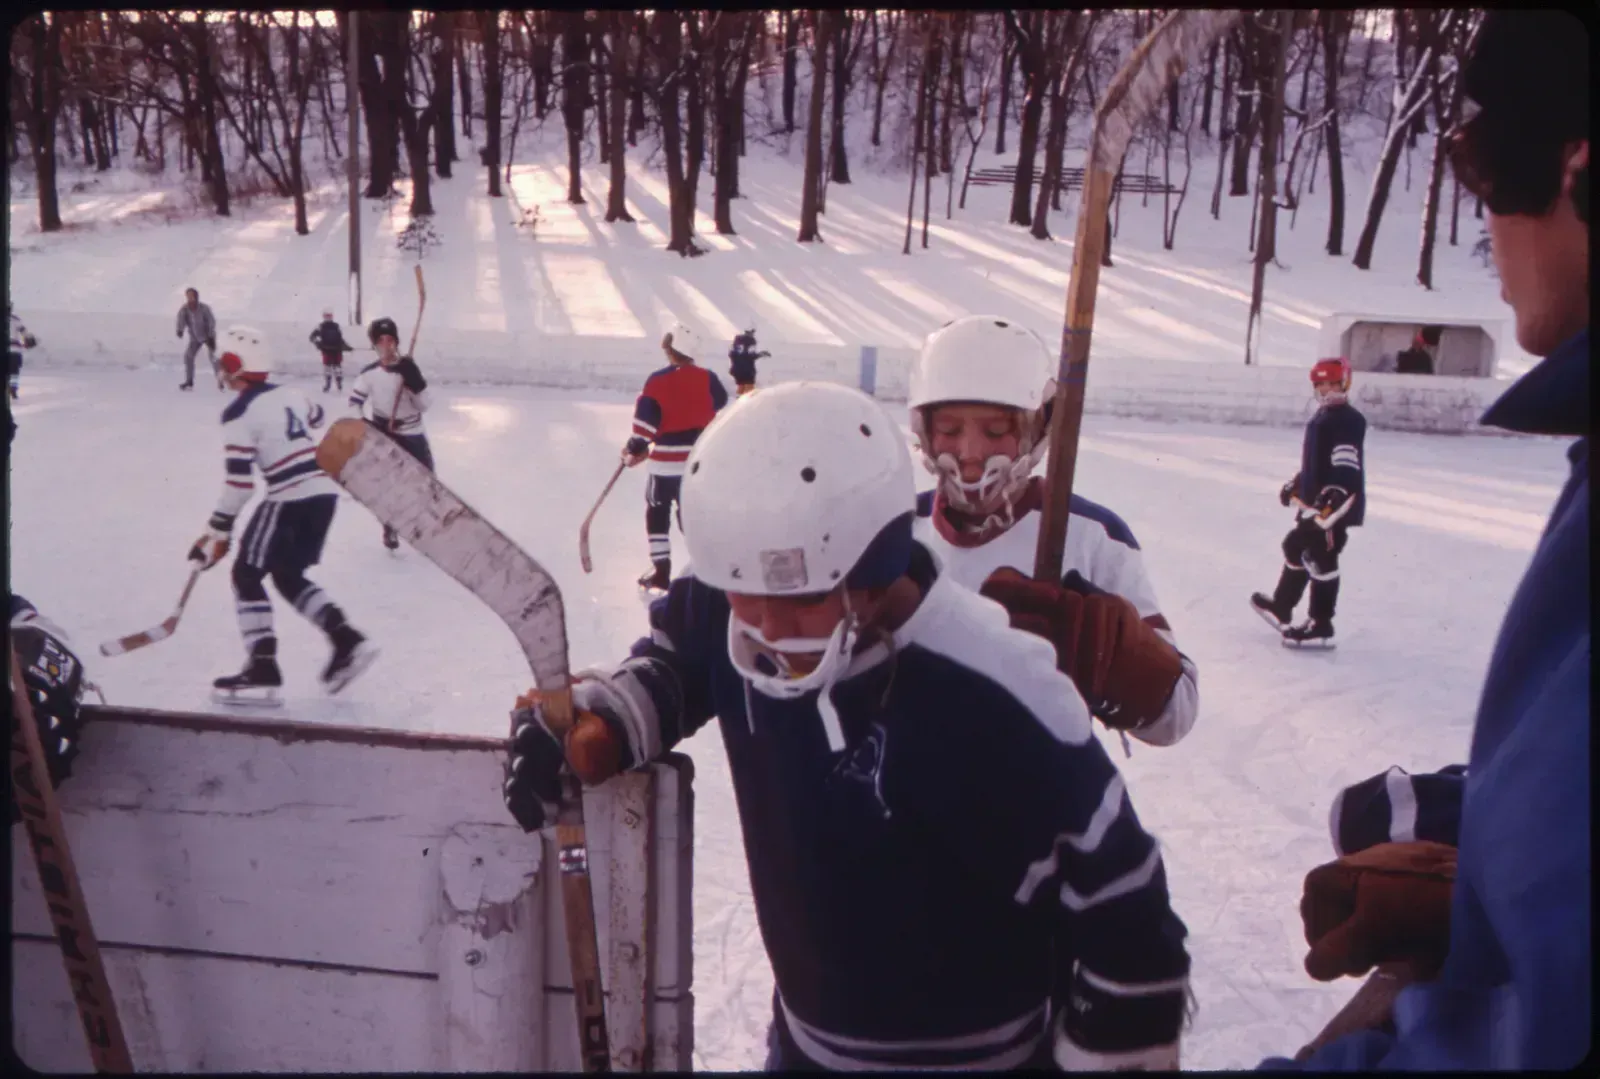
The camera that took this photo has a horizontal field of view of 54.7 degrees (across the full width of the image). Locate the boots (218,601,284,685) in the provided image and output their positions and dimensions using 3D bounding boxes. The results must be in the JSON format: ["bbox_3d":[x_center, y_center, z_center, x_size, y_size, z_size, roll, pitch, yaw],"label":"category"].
[{"bbox_3d":[-3.141,0.614,8.788,0.360,0.507,0.344,-3,14,-18],"label":"boots"}]

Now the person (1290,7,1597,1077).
[{"bbox_3d":[1.704,-0.012,3.848,0.656,2.552,0.920,6,14,19],"label":"person"}]

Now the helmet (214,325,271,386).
[{"bbox_3d":[-3.320,-1.123,9.368,0.290,0.377,0.357,-9,33,-33],"label":"helmet"}]

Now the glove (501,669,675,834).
[{"bbox_3d":[-0.653,0.615,4.668,0.383,0.507,0.201,1,15,-12],"label":"glove"}]

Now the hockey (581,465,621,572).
[{"bbox_3d":[-1.462,-0.029,10.754,0.328,0.119,1.426,9,-28,-5],"label":"hockey"}]

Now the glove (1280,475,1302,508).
[{"bbox_3d":[3.448,-0.364,10.876,0.091,0.227,0.170,19,-16,-26],"label":"glove"}]

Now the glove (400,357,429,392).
[{"bbox_3d":[-2.991,-1.235,11.858,0.111,0.276,0.168,4,55,25],"label":"glove"}]
